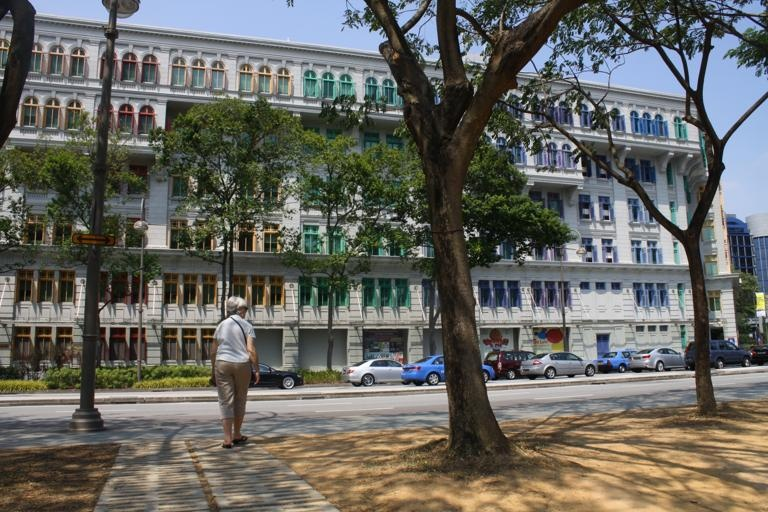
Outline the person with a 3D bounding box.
[{"bbox_3d":[-3.826,2.969,18.742,1.099,3.847,1.269,-1,-7,-14],"label":"person"}]
